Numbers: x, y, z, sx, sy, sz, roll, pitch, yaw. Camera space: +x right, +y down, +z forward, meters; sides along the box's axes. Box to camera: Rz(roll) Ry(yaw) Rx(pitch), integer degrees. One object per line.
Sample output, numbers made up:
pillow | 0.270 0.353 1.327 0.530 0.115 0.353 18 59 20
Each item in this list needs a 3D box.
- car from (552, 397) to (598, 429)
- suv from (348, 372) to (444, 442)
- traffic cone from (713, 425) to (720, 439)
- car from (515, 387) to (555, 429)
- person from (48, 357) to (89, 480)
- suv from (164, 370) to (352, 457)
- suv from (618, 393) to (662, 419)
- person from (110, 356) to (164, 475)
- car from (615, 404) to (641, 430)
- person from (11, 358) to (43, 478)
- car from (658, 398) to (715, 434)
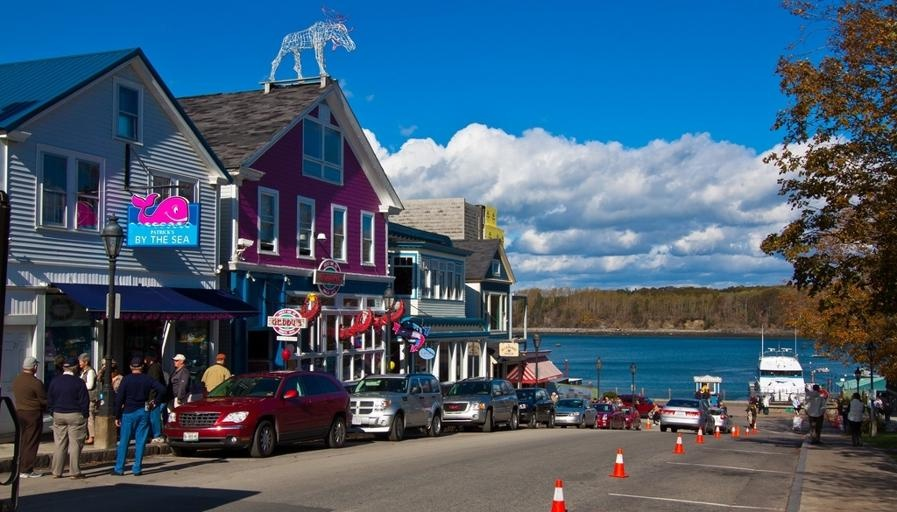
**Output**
car | 6.711 8.382 54.420 1.409 1.567 2.699 -11 -17 34
suv | -2.288 6.147 41.839 1.590 2.901 4.667 -12 -18 38
traffic cone | 13.433 8.849 51.422 0.537 0.748 0.564 -1 -12 -1
car | 4.349 7.780 52.582 1.271 2.226 2.843 -8 -16 26
person | -11.895 5.213 31.743 1.091 3.243 1.203 0 -1 38
suv | -6.314 5.480 35.668 2.857 2.654 7.384 -2 -4 14
suv | 14.088 11.513 75.665 3.496 1.739 2.407 -3 -2 12
person | -9.966 5.180 32.770 1.145 3.374 1.379 0 -2 7
car | 10.663 9.584 60.651 1.320 1.031 3.022 -3 -10 17
person | -12.786 4.826 31.136 0.952 3.468 1.483 5 -15 -23
car | 12.108 8.176 52.304 2.495 1.743 1.988 -4 -14 12
